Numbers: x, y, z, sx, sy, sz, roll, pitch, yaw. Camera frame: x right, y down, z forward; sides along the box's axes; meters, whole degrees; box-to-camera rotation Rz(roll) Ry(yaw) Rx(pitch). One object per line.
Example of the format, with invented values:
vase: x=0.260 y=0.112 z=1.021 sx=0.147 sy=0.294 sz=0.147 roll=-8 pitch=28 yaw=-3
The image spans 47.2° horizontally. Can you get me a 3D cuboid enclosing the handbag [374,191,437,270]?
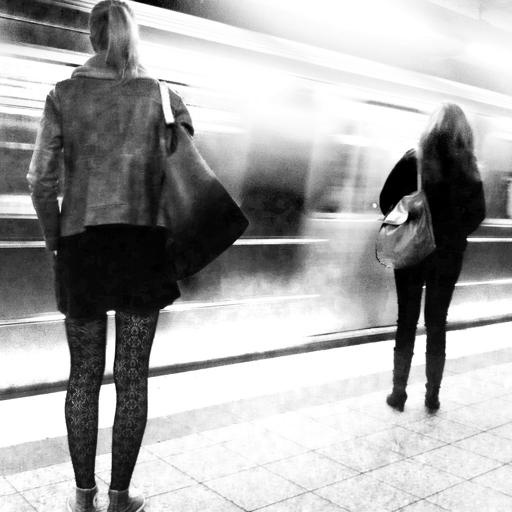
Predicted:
handbag: x=0.826 y=-0.130 z=3.232 sx=0.332 sy=0.401 sz=0.153 roll=-12 pitch=-21 yaw=37

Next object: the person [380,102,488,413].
person: x=1.004 y=0.012 z=3.446 sx=0.604 sy=1.807 sz=0.328 roll=5 pitch=6 yaw=10
